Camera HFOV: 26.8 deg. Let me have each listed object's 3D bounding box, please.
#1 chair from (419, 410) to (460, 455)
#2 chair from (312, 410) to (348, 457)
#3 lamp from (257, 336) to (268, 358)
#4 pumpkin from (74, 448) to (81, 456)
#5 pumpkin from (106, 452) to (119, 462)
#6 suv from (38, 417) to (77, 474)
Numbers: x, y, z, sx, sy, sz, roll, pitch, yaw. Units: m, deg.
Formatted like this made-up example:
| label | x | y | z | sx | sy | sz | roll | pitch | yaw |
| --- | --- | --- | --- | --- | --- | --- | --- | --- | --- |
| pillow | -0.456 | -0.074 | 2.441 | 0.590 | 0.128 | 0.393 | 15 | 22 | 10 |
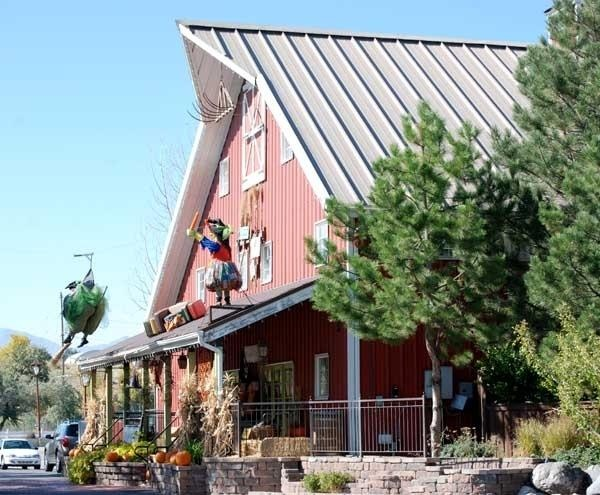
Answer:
| label | x | y | z | sx | sy | sz | roll | pitch | yaw |
| --- | --- | --- | --- | --- | --- | --- | --- | --- | --- |
| chair | 4.203 | 5.129 | 35.757 | 0.360 | 1.070 | 1.400 | -19 | -5 | 18 |
| chair | 0.749 | 4.978 | 34.568 | 0.988 | 2.144 | 0.925 | 0 | -8 | 0 |
| lamp | -1.110 | 3.001 | 39.091 | 0.323 | 0.770 | 0.426 | -3 | -16 | 4 |
| pumpkin | -7.360 | 6.743 | 41.782 | 0.259 | 0.236 | 0.314 | 0 | 6 | 39 |
| pumpkin | -5.749 | 6.431 | 38.763 | 0.247 | 0.342 | 0.296 | -12 | -27 | 21 |
| suv | -9.120 | 7.714 | 48.918 | 1.200 | 1.915 | 3.390 | 4 | -9 | -27 |
